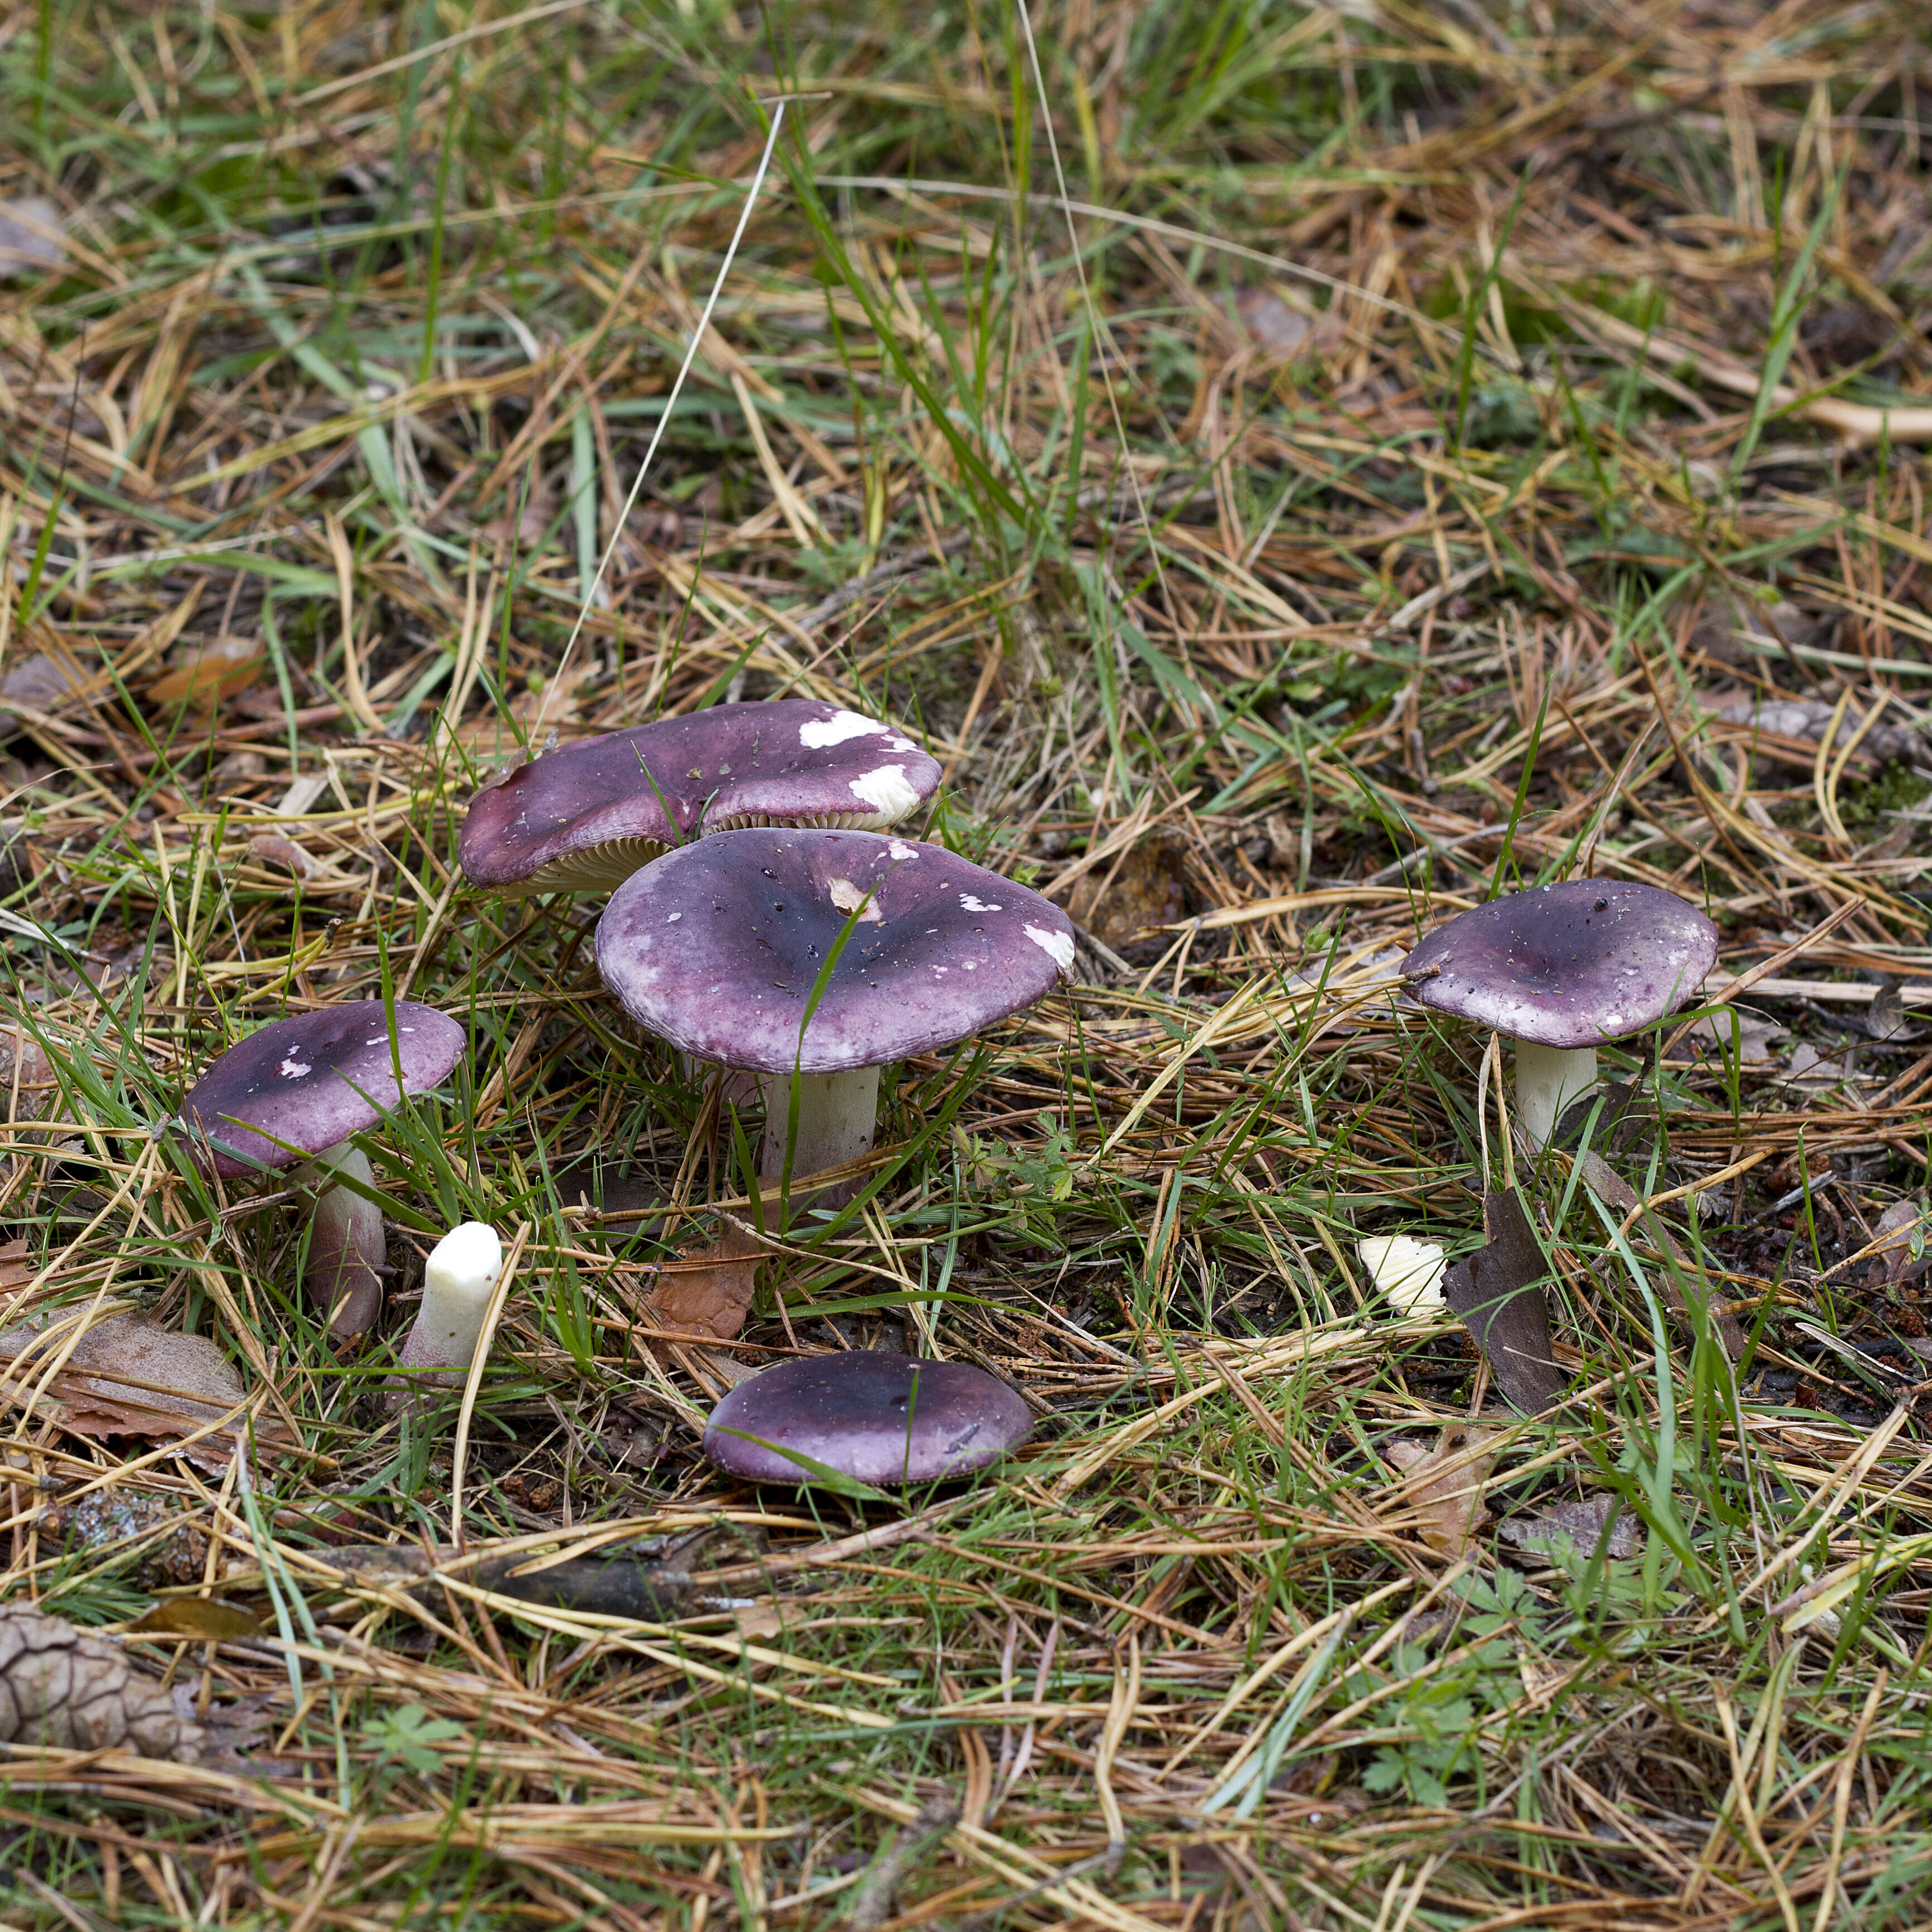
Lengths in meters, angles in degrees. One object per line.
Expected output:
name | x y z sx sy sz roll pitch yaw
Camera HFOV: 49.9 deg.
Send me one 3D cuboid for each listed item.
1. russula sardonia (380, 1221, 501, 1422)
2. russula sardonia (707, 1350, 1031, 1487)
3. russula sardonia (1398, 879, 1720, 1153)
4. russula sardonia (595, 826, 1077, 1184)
russula sardonia | -0.935 0.648 3.720 0.211 0.457 0.149 13 41 -19
russula sardonia | -0.162 0.776 3.732 0.622 0.522 0.109 2 101 1
russula sardonia | 1.209 0.090 4.169 0.574 0.414 0.516 -30 35 -28
russula sardonia | -0.317 -0.009 3.976 0.756 0.465 0.631 -27 66 -32
